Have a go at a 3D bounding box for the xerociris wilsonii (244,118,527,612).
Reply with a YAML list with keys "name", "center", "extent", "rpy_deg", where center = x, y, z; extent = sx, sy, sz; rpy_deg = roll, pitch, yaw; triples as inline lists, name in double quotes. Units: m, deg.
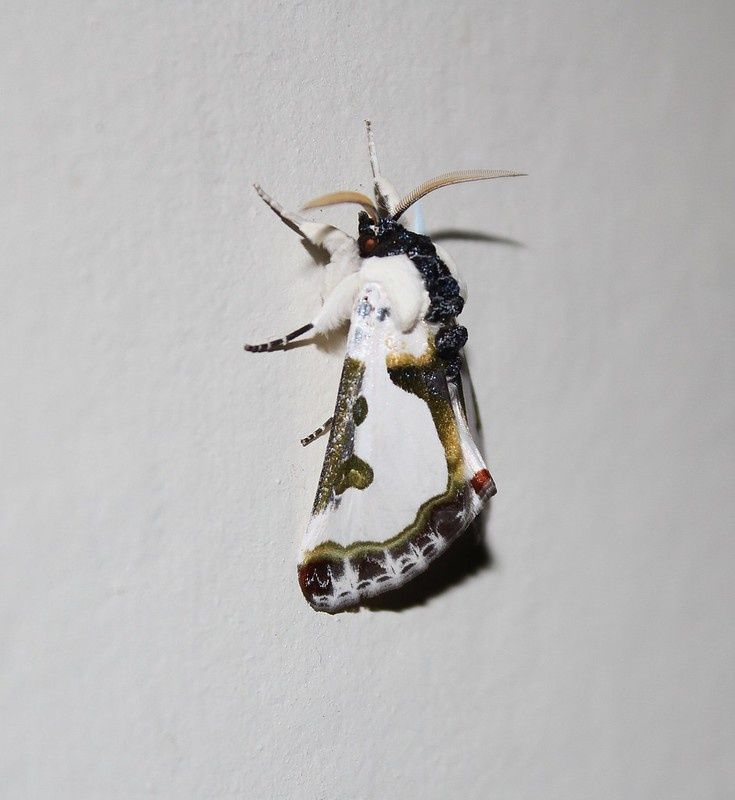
- name: "xerociris wilsonii"
  center: [0.032, -0.012, 1.901]
  extent: [0.193, 0.519, 0.501]
  rpy_deg: [-4, -82, 46]
